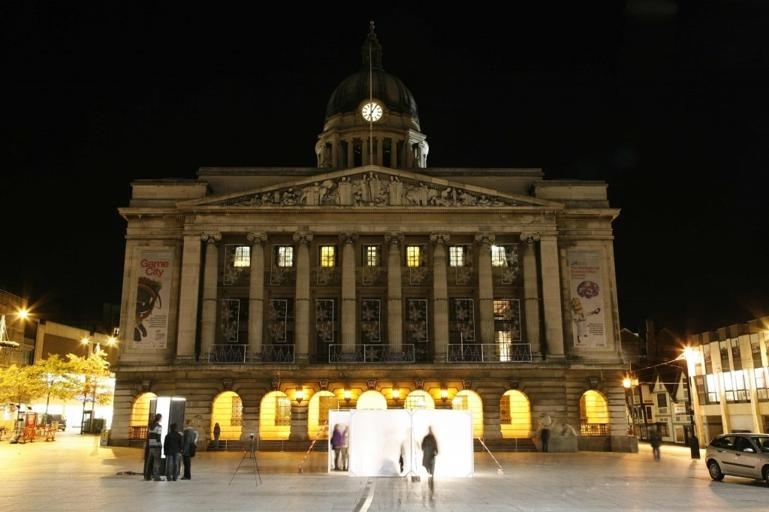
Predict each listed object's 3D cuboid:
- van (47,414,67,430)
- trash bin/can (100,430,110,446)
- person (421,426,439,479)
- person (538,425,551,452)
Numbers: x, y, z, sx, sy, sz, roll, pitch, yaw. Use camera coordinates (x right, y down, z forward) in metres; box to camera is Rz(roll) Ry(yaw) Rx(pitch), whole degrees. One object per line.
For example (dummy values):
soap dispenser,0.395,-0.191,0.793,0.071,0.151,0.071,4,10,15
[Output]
van,-50.031,25.389,96.934,2.099,2.978,10.966,6,-19,-22
trash bin/can,-25.236,16.452,57.427,0.821,1.419,2.139,6,-19,-22
person,2.029,8.701,28.319,0.777,2.053,0.494,-1,-18,-2
person,13.751,15.650,54.300,0.911,2.118,0.744,-8,-19,19
